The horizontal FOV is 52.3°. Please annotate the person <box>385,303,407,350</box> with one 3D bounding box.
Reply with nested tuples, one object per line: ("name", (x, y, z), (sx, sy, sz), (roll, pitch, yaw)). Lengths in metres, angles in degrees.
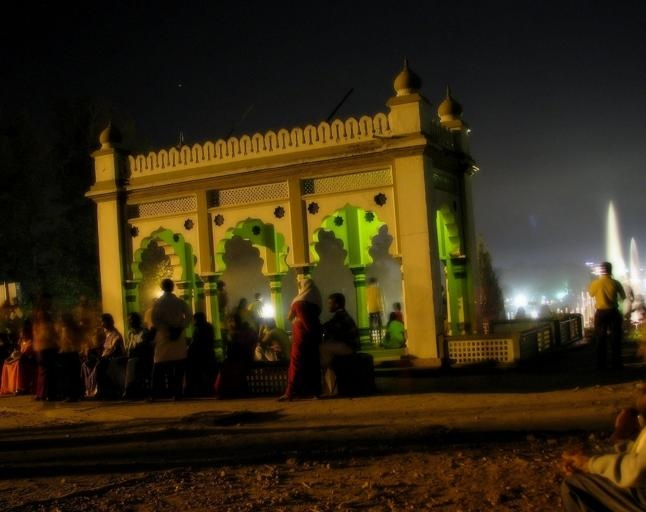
("person", (1.849, 1.925, 17.084), (0.490, 0.969, 0.925), (-2, -9, 3))
